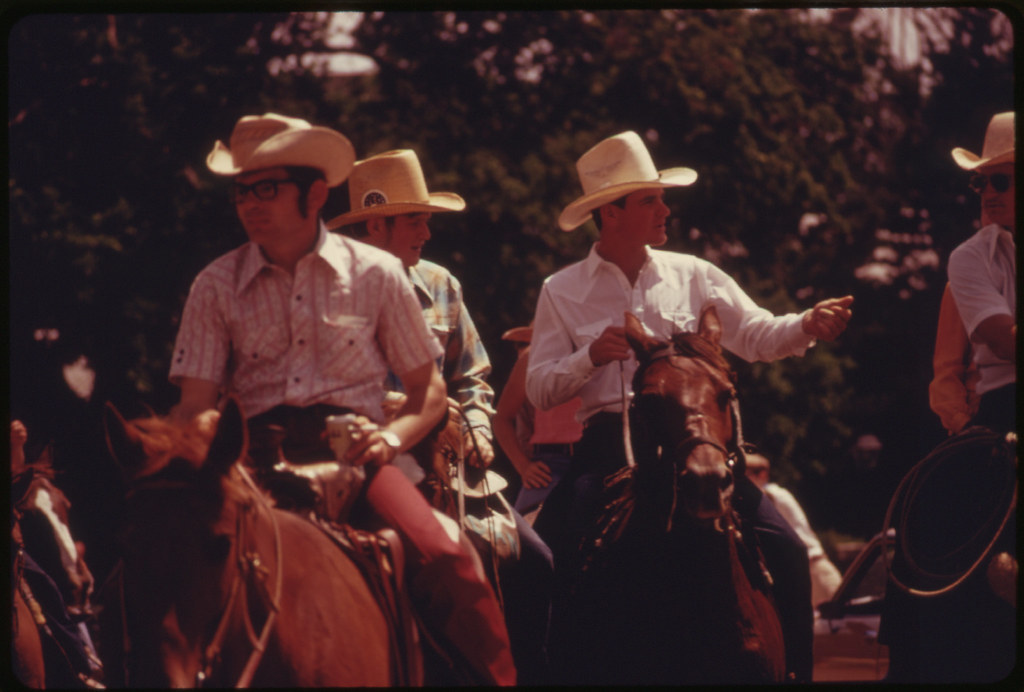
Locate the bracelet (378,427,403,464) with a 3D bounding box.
[{"bbox_3d":[-0.603,0.509,7.775,0.128,0.142,0.111,-49,-7,14],"label":"bracelet"}]

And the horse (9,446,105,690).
[{"bbox_3d":[-2.351,1.149,7.894,0.500,1.280,0.201,0,-5,16],"label":"horse"}]

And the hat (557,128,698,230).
[{"bbox_3d":[0.617,-0.880,8.079,0.543,0.239,0.437,-24,1,17],"label":"hat"}]

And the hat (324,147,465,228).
[{"bbox_3d":[-0.662,-0.820,8.130,0.749,0.321,0.539,-8,-6,-3],"label":"hat"}]

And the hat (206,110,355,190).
[{"bbox_3d":[-1.134,-1.001,7.832,0.454,0.175,0.453,4,-23,-26],"label":"hat"}]

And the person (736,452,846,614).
[{"bbox_3d":[1.474,0.955,7.932,0.585,0.772,0.254,-11,-10,-33],"label":"person"}]
